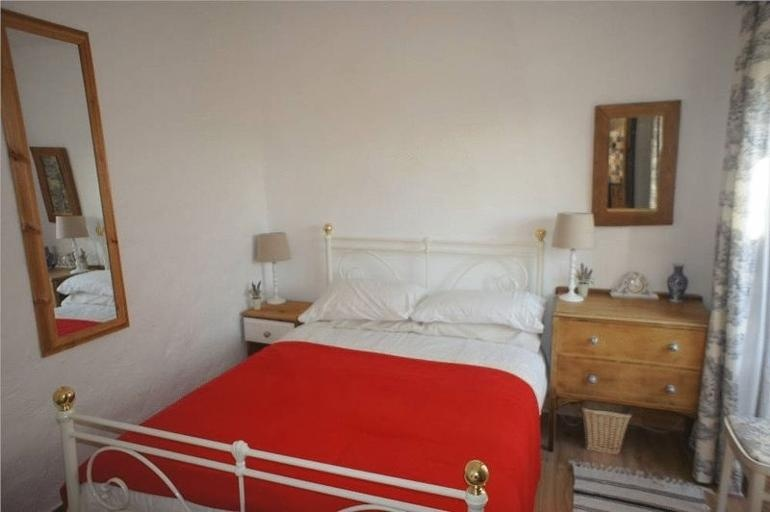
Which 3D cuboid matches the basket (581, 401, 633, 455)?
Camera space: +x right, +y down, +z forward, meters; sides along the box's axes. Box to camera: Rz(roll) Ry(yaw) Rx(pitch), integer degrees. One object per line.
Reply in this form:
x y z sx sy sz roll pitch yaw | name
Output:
1.613 1.214 4.060 0.394 0.396 0.352 3 7 20 | basket

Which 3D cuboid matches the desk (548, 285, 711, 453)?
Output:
1.661 0.603 4.205 1.353 1.370 0.990 2 8 17 | desk

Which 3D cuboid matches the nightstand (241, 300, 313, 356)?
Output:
-0.951 0.545 4.803 0.488 0.460 0.492 4 12 21 | nightstand

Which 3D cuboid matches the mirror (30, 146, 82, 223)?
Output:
-2.086 -0.457 3.443 0.060 0.462 0.240 6 12 31 | mirror
